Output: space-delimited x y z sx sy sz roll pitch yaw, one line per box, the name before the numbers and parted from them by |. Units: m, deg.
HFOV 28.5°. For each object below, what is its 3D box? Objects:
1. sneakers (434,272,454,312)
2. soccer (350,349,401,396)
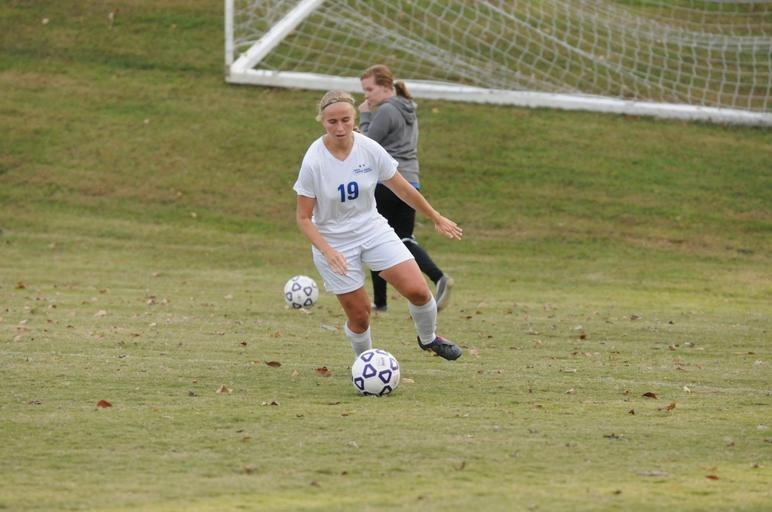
sneakers | 0.830 0.534 21.892 0.217 0.500 0.243 3 19 -36
soccer | -0.141 1.529 20.404 0.733 0.546 0.651 6 3 6
